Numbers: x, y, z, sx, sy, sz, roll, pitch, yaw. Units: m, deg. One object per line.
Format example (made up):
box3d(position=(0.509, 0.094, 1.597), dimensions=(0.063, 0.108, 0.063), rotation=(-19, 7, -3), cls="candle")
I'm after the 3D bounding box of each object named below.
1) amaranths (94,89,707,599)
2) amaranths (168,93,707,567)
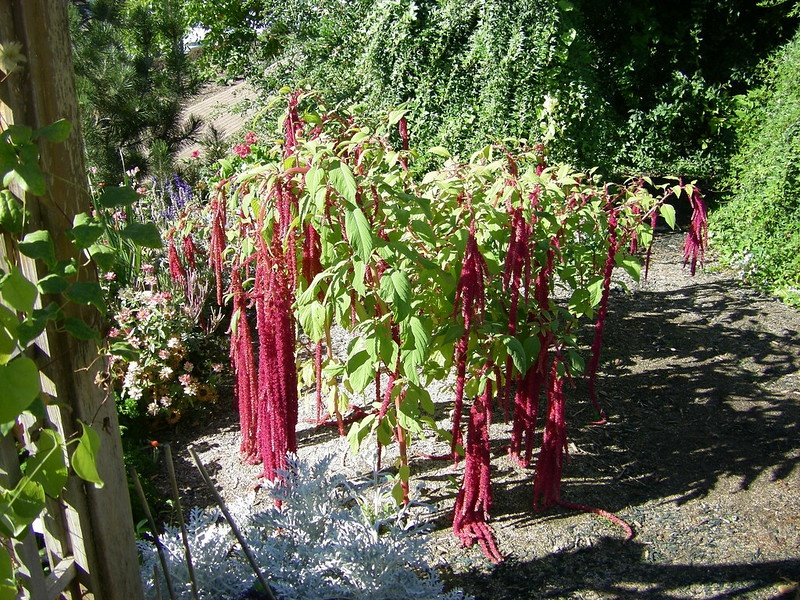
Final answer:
box3d(position=(0.186, -0.251, 3.681), dimensions=(2.766, 2.038, 2.086), rotation=(-7, 30, -9), cls="amaranths")
box3d(position=(0.009, 0.236, 4.010), dimensions=(2.450, 1.859, 2.164), rotation=(-11, 32, -23), cls="amaranths")
